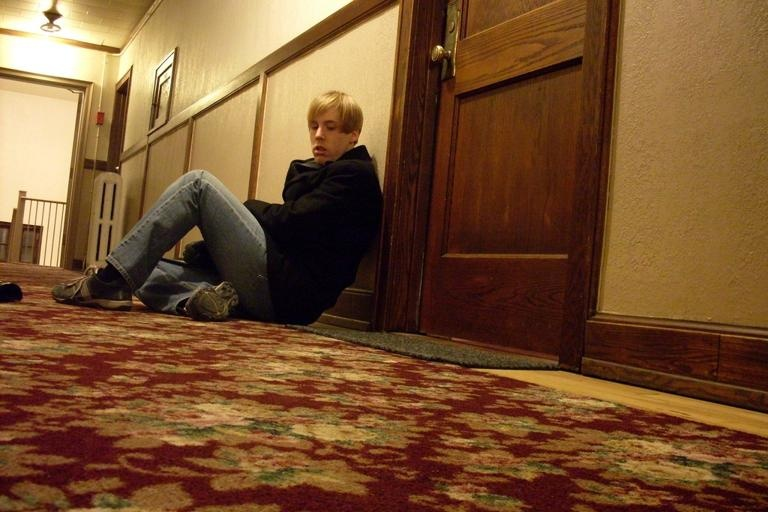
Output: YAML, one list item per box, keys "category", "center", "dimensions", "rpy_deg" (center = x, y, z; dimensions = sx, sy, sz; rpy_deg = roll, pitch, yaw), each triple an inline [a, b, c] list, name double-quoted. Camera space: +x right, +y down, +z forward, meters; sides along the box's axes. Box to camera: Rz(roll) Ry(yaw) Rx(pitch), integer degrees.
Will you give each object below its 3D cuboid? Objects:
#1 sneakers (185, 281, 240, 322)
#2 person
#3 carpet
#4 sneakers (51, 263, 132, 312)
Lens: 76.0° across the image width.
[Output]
- category: "sneakers"
  center: [-0.674, 0.184, 1.973]
  dimensions: [0.108, 0.108, 0.225]
  rpy_deg: [2, 6, 44]
- category: "person"
  center: [-0.687, -0.258, 2.299]
  dimensions: [1.478, 0.862, 0.591]
  rpy_deg: [2, 4, 3]
- category: "carpet"
  center: [0.178, 0.322, 1.784]
  dimensions: [0.541, 0.036, 0.845]
  rpy_deg: [8, -4, -41]
- category: "sneakers"
  center: [-1.176, 0.123, 1.962]
  dimensions: [0.354, 0.133, 0.143]
  rpy_deg: [7, -2, 9]
